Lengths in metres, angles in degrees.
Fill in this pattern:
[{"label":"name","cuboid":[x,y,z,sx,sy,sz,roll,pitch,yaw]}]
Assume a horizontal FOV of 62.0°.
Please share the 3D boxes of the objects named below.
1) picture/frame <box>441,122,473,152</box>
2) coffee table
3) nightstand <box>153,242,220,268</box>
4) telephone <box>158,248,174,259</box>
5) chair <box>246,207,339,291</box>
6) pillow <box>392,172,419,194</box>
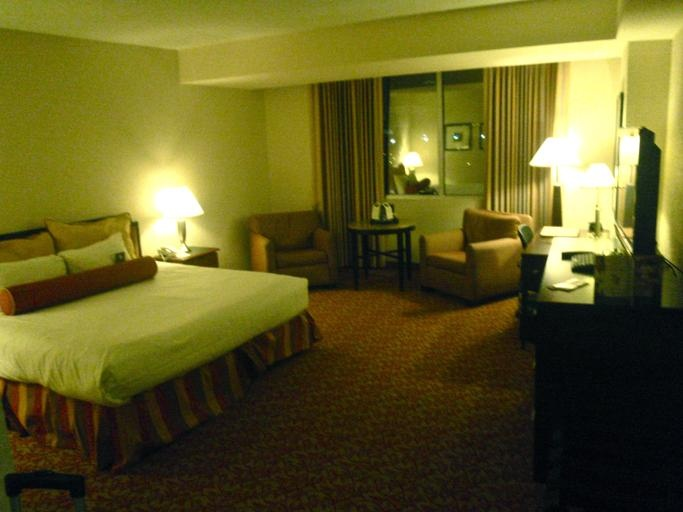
[{"label":"picture/frame","cuboid":[1.543,-1.591,7.492,0.434,0.378,0.058,2,17,17]},{"label":"coffee table","cuboid":[0.503,-0.054,7.226,0.822,0.627,0.891,0,11,7]},{"label":"nightstand","cuboid":[-1.657,-0.093,6.175,0.306,0.351,0.407,5,11,22]},{"label":"telephone","cuboid":[-1.850,-0.029,6.051,0.134,0.030,0.135,19,15,37]},{"label":"chair","cuboid":[-0.613,-0.094,7.390,1.129,1.014,1.024,-3,3,-17]},{"label":"pillow","cuboid":[0.877,-0.997,7.869,0.312,0.280,0.119,1,-2,14]}]
